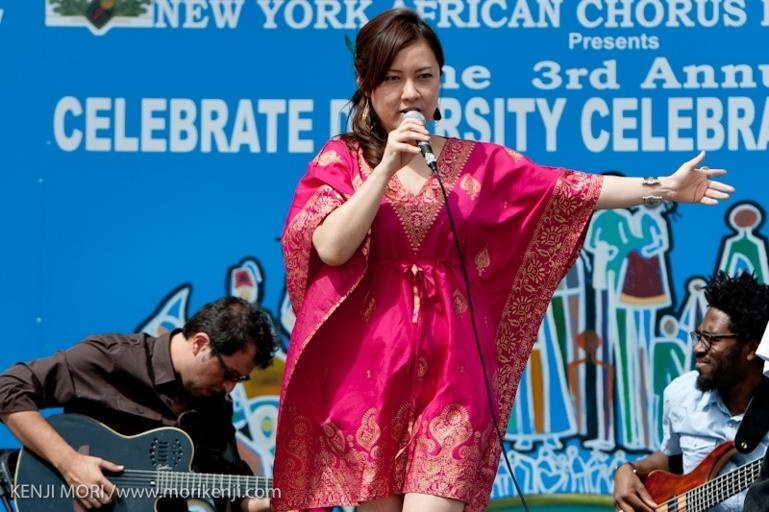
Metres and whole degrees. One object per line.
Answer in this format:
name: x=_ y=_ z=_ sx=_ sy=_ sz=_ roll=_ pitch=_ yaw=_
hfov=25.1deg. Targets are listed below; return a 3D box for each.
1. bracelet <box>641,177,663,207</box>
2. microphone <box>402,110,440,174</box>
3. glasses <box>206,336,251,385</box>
bracelet: x=1.248 y=-0.279 z=8.058 sx=0.091 sy=0.141 sz=0.133 roll=1 pitch=-8 yaw=5
microphone: x=0.194 y=-0.482 z=7.862 sx=0.103 sy=0.349 sz=0.096 roll=-26 pitch=-11 yaw=17
glasses: x=-0.816 y=0.553 z=8.951 sx=0.064 sy=0.207 sz=0.204 roll=-19 pitch=-18 yaw=13
